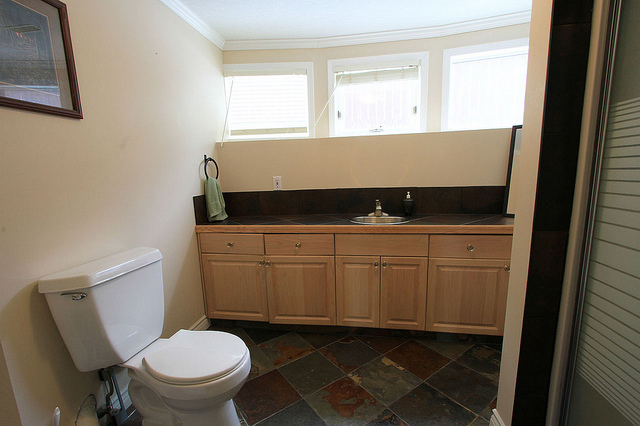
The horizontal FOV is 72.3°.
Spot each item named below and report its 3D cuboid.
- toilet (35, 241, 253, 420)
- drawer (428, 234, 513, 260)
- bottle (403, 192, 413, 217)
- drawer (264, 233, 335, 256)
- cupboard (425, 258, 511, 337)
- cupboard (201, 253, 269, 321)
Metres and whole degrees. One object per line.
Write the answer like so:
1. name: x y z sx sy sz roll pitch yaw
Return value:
1. toilet: -0.982 0.746 2.606 1.058 0.961 0.542 2 14 18
2. drawer: 1.076 0.242 3.160 0.576 0.180 0.043 0 14 8
3. bottle: 0.739 -0.079 3.656 0.068 0.188 0.116 0 14 11
4. drawer: -0.158 0.238 3.332 0.529 0.162 0.030 -1 14 6
5. cupboard: 1.025 0.525 3.377 0.751 0.756 0.511 1 5 14
6. cupboard: -0.635 0.535 3.673 0.668 0.689 0.472 0 2 9
